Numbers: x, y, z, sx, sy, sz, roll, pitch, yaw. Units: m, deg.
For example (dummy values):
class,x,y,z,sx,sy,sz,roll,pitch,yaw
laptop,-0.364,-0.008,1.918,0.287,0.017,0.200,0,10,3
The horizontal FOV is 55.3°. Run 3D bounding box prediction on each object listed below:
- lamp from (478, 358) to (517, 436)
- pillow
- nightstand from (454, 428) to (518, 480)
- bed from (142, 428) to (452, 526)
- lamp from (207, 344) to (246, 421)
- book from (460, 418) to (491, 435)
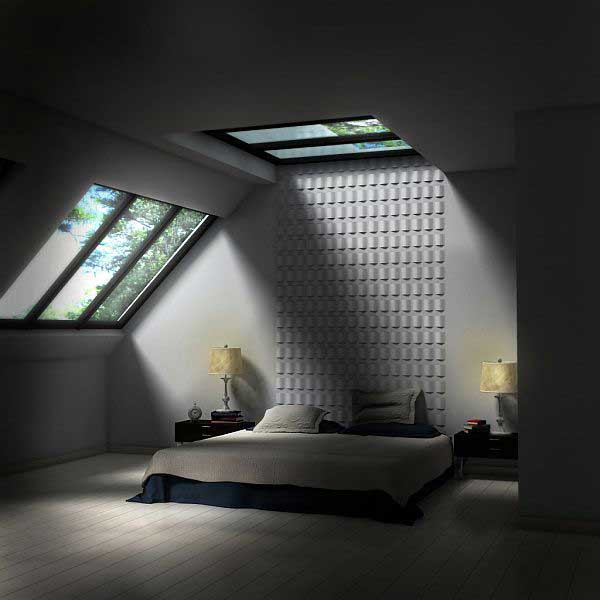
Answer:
class,x,y,z,sx,sy,sz,roll,pitch,yaw
lamp,2.162,1.045,6.286,0.400,0.805,0.578,2,-9,19
pillow,0.527,1.310,6.459,1.329,0.385,0.862,-1,-6,17
nightstand,2.005,1.670,6.264,0.670,0.565,0.608,2,-9,19
bed,0.035,1.620,5.413,2.378,0.689,1.361,1,-9,23
lamp,-0.950,1.071,7.474,0.472,0.974,0.528,6,-9,-5
book,1.928,1.375,6.271,0.231,0.073,0.223,1,2,14
